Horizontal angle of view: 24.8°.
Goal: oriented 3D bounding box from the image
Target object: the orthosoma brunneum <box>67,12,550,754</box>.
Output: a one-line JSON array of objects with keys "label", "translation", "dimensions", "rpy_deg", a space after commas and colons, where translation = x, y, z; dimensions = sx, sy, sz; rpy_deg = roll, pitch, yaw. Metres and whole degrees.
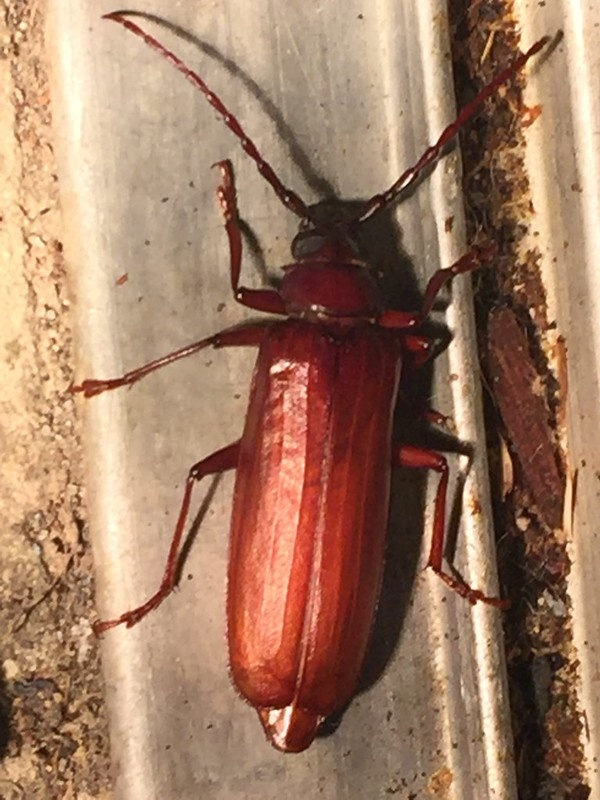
[{"label": "orthosoma brunneum", "translation": [0.028, 0.132, 3.930], "dimensions": [1.023, 0.487, 1.696], "rpy_deg": [6, 75, -5]}]
